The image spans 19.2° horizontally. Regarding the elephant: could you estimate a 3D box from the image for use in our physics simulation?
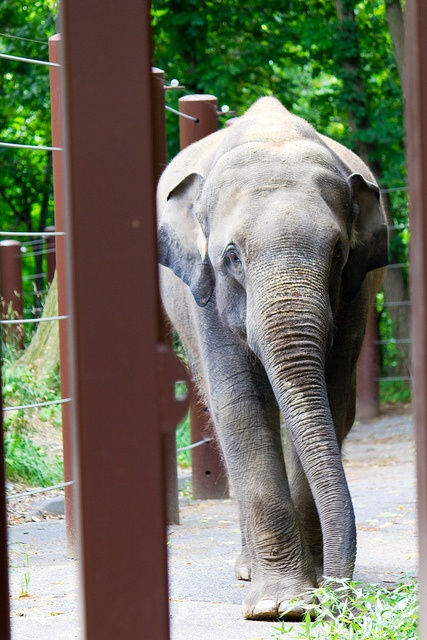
[{"bbox_3d":[0.173,0.037,3.043,0.589,1.231,1.329,-3,2,-3],"label":"elephant"}]
